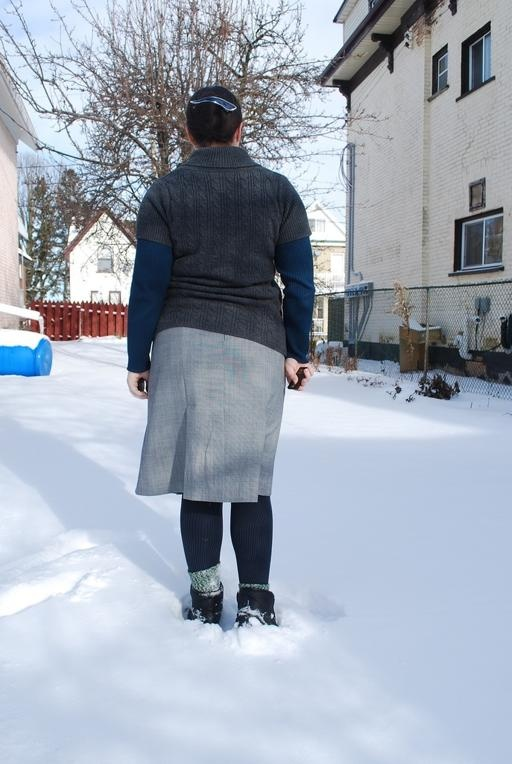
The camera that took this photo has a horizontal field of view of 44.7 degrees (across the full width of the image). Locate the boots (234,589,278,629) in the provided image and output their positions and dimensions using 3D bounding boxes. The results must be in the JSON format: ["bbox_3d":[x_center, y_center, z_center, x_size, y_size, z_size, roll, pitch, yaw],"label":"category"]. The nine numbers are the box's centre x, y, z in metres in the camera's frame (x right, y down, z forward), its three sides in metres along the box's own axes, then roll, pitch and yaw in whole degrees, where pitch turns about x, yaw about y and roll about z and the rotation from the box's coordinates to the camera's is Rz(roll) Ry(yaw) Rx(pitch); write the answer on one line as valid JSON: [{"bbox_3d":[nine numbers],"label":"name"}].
[{"bbox_3d":[0.006,0.688,1.942,0.135,0.143,0.086,2,-3,-39],"label":"boots"}]

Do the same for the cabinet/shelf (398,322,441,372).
[{"bbox_3d":[2.998,-0.461,11.269,0.625,0.869,0.748,3,-20,36],"label":"cabinet/shelf"}]

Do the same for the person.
[{"bbox_3d":[-0.115,-0.073,1.960,0.577,1.675,0.317,5,4,2],"label":"person"}]
